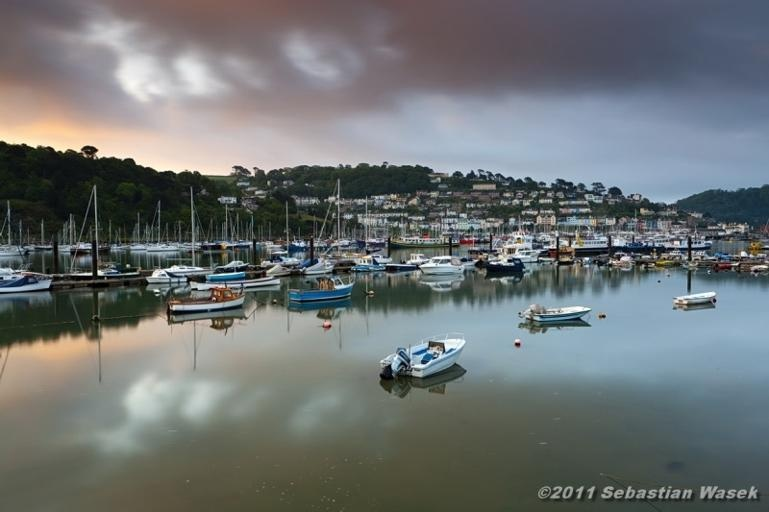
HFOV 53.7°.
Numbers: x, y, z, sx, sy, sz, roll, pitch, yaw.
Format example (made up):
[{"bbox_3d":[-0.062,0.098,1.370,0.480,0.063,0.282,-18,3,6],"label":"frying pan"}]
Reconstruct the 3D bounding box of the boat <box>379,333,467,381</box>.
[{"bbox_3d":[2.156,5.269,37.877,1.648,1.423,5.004,8,13,43],"label":"boat"}]
